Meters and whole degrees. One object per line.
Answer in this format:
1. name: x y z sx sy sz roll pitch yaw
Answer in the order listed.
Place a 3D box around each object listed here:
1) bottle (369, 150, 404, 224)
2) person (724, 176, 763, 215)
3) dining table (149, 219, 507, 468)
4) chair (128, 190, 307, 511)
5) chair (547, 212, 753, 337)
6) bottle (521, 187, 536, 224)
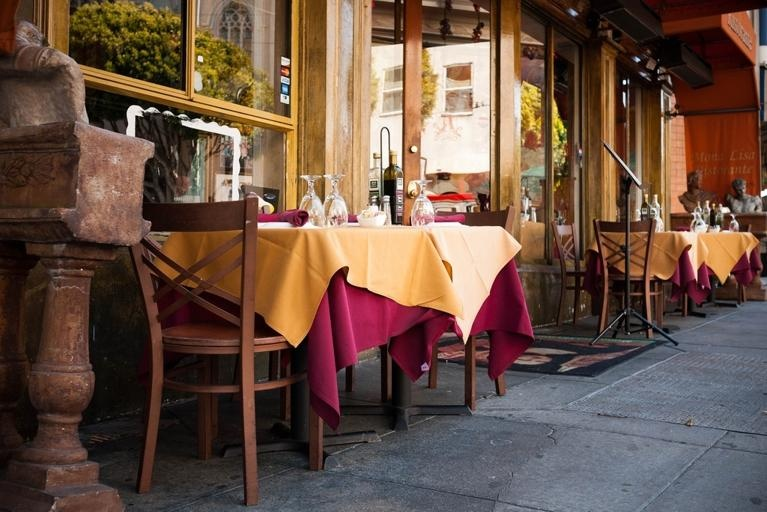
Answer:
1. bottle: 0.038 -0.367 4.013 0.130 0.407 0.213 -1 1 1
2. person: 5.725 -0.949 11.566 0.390 0.726 0.685 9 -8 -37
3. dining table: -0.247 0.120 3.682 1.162 0.865 1.447 -1 -1 36
4. chair: -0.761 0.402 3.413 0.792 1.074 0.748 -1 0 2
5. chair: 2.699 0.054 7.047 1.085 0.934 1.759 2 6 37
6. bottle: 1.499 -0.525 7.480 0.059 0.344 0.367 -1 1 27
